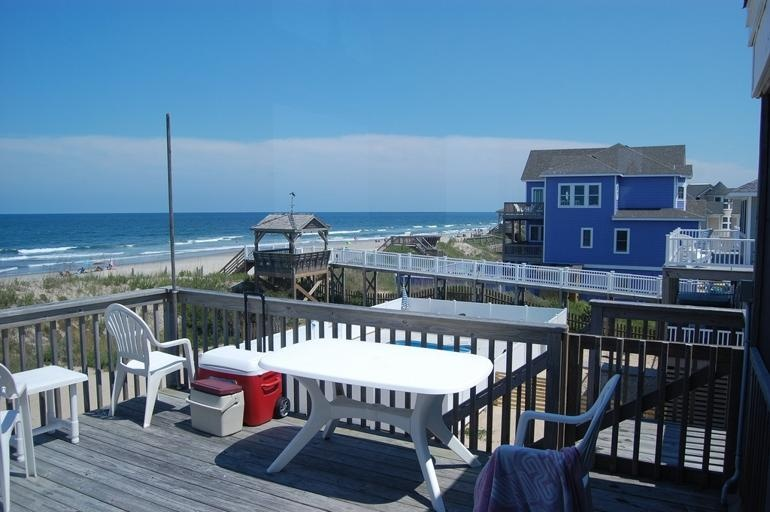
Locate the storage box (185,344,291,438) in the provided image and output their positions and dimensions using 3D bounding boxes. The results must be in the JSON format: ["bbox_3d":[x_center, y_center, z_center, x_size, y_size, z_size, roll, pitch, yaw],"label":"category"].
[{"bbox_3d":[-1.597,1.351,6.779,1.178,0.921,0.765,1,2,33],"label":"storage box"}]

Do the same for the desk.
[{"bbox_3d":[-0.026,1.556,5.772,1.999,1.447,1.058,-2,3,22],"label":"desk"}]
